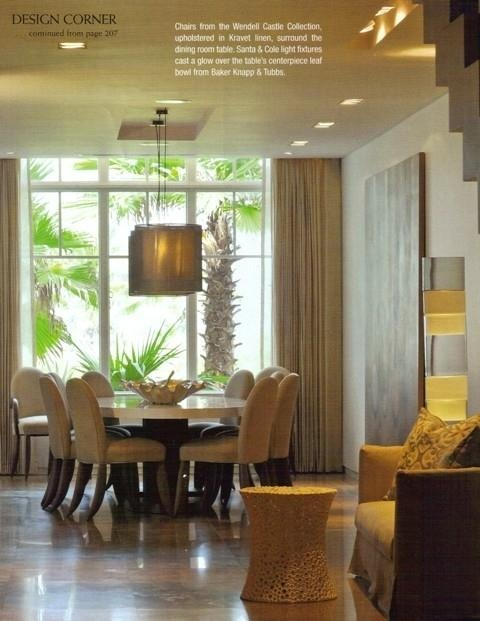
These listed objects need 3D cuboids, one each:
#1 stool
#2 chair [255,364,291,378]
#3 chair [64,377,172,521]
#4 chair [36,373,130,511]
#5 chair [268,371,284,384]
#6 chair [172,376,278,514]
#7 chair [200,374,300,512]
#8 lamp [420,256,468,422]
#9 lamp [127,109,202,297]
[{"bbox_3d":[0.172,0.922,2.468,0.384,0.433,0.410,0,-10,0],"label":"stool"},{"bbox_3d":[0.269,0.521,5.106,0.140,0.131,0.141,17,-17,-33],"label":"chair"},{"bbox_3d":[-0.848,0.894,4.047,0.544,0.885,0.495,2,-6,-30],"label":"chair"},{"bbox_3d":[-1.129,0.906,4.288,0.546,0.882,0.447,3,-9,-38],"label":"chair"},{"bbox_3d":[0.296,0.522,4.745,0.107,0.133,0.141,5,-14,-34],"label":"chair"},{"bbox_3d":[-0.047,0.872,4.009,0.550,0.920,0.493,1,-1,28],"label":"chair"},{"bbox_3d":[0.011,0.821,4.069,0.612,0.931,0.519,12,7,37],"label":"chair"},{"bbox_3d":[0.980,0.124,2.869,0.206,0.790,0.180,-2,-7,14],"label":"lamp"},{"bbox_3d":[-0.533,-0.685,4.298,0.484,1.209,1.910,1,-8,-10],"label":"lamp"}]
